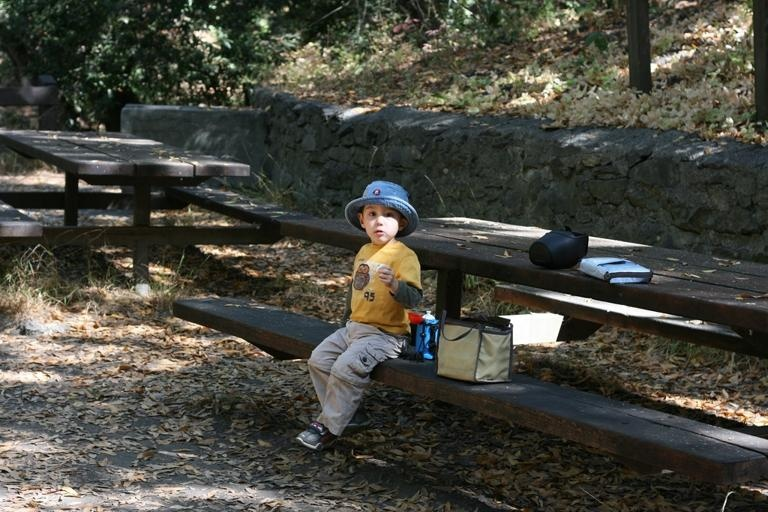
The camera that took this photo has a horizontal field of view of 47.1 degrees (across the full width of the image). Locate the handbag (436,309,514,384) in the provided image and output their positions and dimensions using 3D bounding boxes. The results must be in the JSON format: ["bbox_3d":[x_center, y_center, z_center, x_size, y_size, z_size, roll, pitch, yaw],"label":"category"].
[{"bbox_3d":[0.493,0.590,5.514,0.477,0.352,0.448,8,-7,-32],"label":"handbag"}]

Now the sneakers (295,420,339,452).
[{"bbox_3d":[-0.444,1.212,5.878,0.304,0.117,0.169,11,0,40],"label":"sneakers"}]

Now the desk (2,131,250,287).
[{"bbox_3d":[-2.703,-0.457,8.618,2.007,1.513,2.519,-1,6,-25],"label":"desk"}]

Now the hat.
[{"bbox_3d":[0.061,-0.393,5.991,0.465,0.165,0.417,36,-45,-30],"label":"hat"}]

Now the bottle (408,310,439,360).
[{"bbox_3d":[0.274,0.534,5.954,0.317,0.349,0.328,-1,2,6],"label":"bottle"}]
